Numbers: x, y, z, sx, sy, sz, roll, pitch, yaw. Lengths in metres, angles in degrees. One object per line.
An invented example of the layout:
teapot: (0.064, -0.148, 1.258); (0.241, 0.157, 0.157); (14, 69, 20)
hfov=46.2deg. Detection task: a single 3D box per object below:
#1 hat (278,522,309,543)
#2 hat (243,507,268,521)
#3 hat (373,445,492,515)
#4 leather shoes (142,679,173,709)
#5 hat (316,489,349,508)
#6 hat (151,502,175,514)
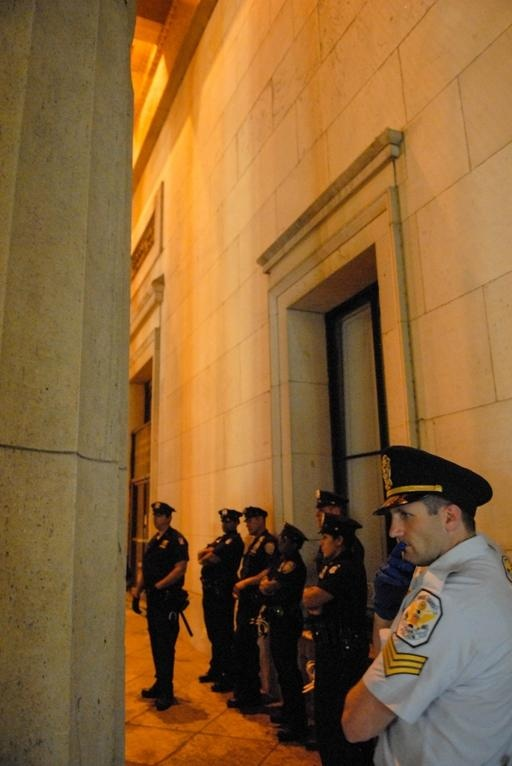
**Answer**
hat: (0.294, 1.166, 4.608); (0.175, 0.084, 0.160); (26, -17, -3)
hat: (0.009, 1.180, 5.540); (0.163, 0.094, 0.144); (20, -31, -36)
hat: (0.512, 0.286, 1.776); (0.341, 0.219, 0.312); (7, -14, -23)
leather shoes: (-0.839, 2.625, 4.990); (0.136, 0.317, 0.433); (6, -34, -14)
hat: (0.540, 0.801, 4.256); (0.153, 0.096, 0.144); (7, -22, -14)
hat: (-0.895, 1.267, 5.969); (0.195, 0.101, 0.228); (-8, -30, 33)
